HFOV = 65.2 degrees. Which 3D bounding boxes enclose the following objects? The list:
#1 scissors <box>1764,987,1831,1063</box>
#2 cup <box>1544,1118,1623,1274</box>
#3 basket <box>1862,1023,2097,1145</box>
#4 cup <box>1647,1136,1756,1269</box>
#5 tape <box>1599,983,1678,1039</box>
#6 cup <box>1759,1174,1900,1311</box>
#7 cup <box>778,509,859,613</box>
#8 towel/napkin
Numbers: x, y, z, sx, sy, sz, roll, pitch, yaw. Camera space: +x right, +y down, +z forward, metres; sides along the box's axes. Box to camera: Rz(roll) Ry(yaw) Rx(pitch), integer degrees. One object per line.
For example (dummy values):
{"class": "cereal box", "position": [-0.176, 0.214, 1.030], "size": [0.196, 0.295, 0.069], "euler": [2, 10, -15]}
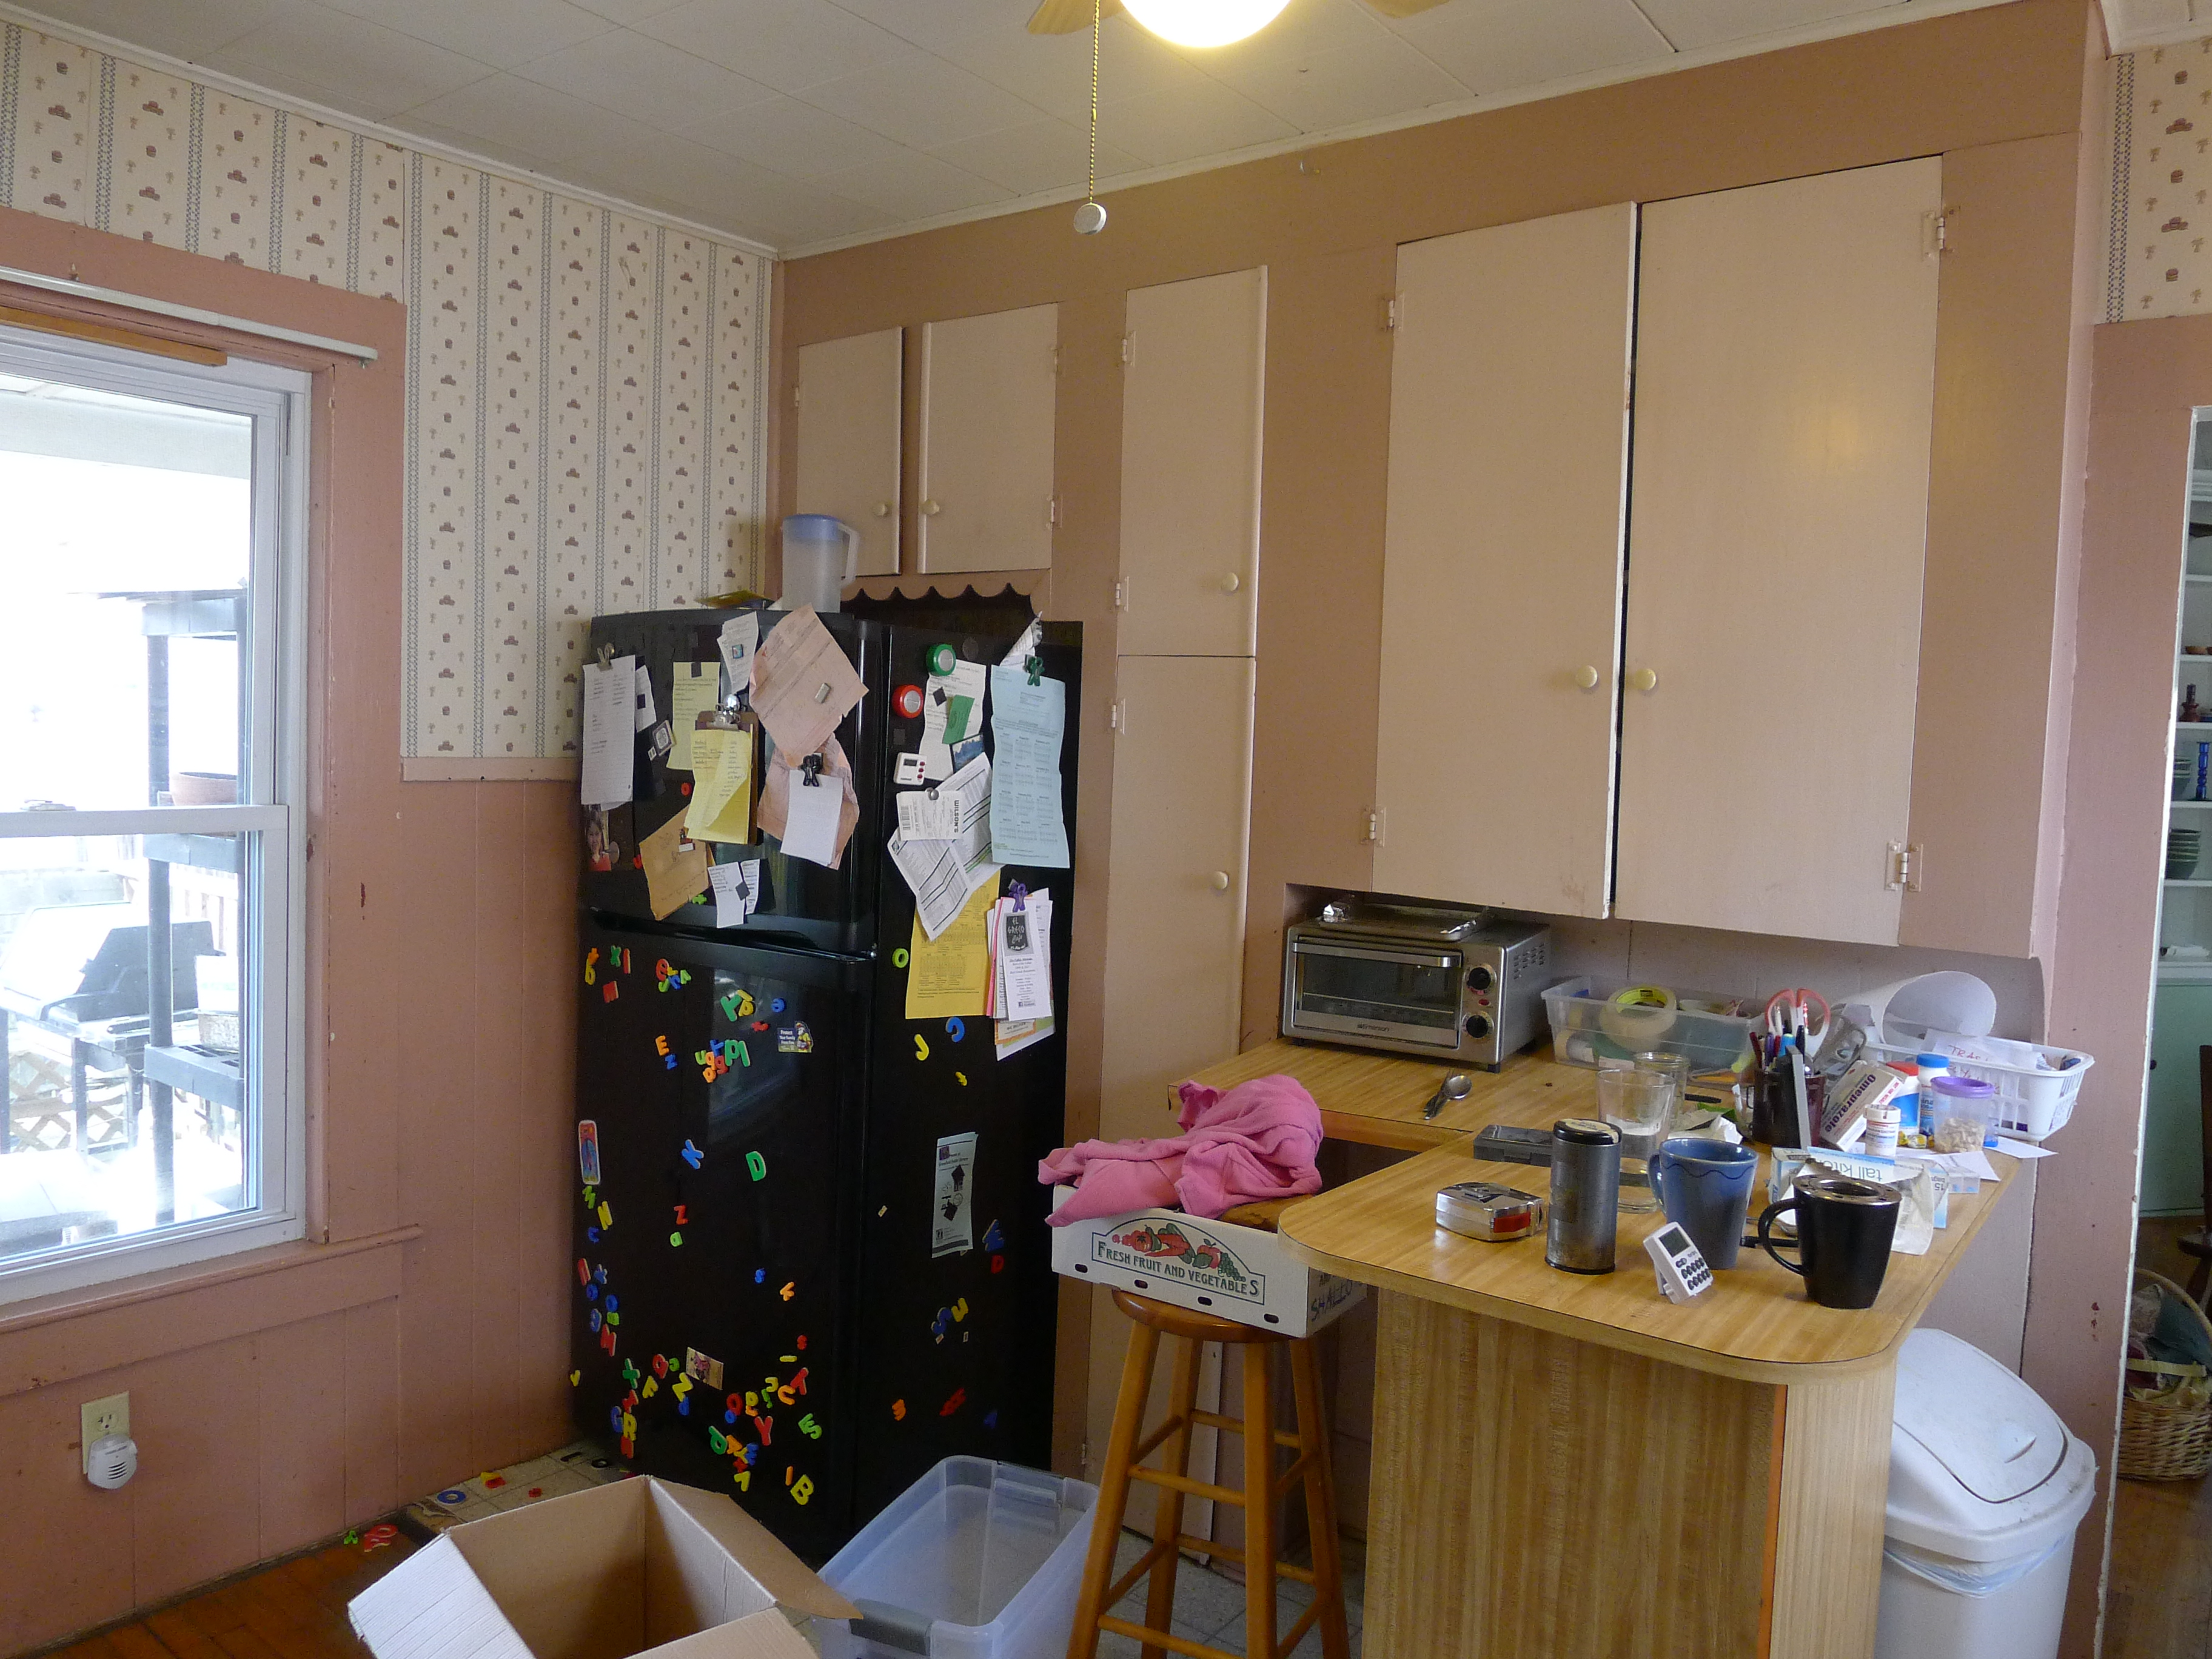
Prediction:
{"class": "scissors", "position": [1.270, 0.350, 3.163], "size": [0.101, 0.070, 0.180], "euler": [4, 7, 19]}
{"class": "cup", "position": [0.710, 0.554, 2.590], "size": [0.100, 0.213, 0.081], "euler": [0, 3, 13]}
{"class": "basket", "position": [1.634, 0.452, 3.140], "size": [0.208, 0.121, 0.327], "euler": [2, 5, 18]}
{"class": "cup", "position": [0.889, 0.559, 2.627], "size": [0.146, 0.184, 0.170], "euler": [-2, 0, -41]}
{"class": "tape", "position": [1.059, 0.379, 3.445], "size": [0.120, 0.105, 0.131], "euler": [-2, 4, -16]}
{"class": "cup", "position": [1.047, 0.603, 2.556], "size": [0.123, 0.149, 0.189], "euler": [-1, 0, -24]}
{"class": "cup", "position": [-0.631, -0.625, 4.108], "size": [0.235, 0.262, 0.214], "euler": [1, -1, 0]}
{"class": "towel/napkin", "position": [0.145, 0.602, 3.152], "size": [0.524, 0.228, 0.310], "euler": [-1, 4, 0]}
